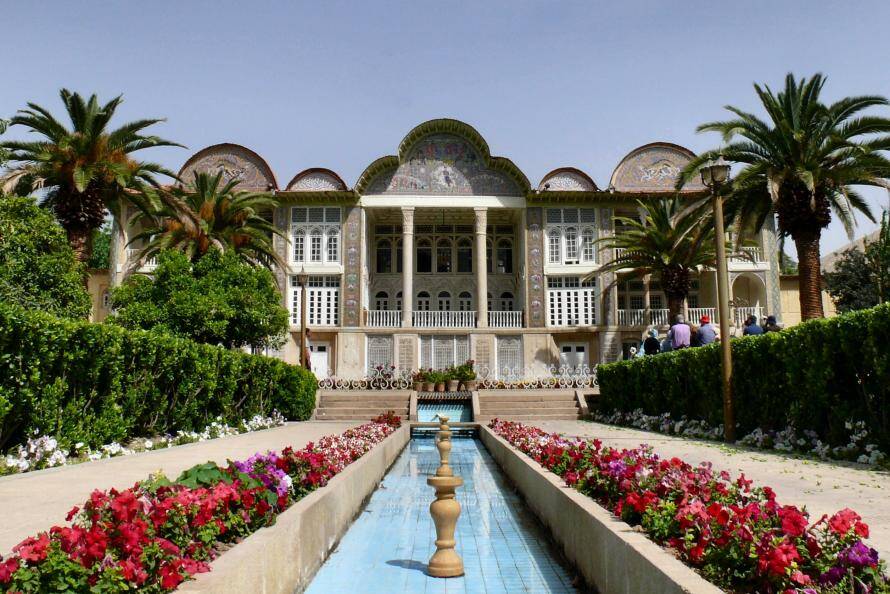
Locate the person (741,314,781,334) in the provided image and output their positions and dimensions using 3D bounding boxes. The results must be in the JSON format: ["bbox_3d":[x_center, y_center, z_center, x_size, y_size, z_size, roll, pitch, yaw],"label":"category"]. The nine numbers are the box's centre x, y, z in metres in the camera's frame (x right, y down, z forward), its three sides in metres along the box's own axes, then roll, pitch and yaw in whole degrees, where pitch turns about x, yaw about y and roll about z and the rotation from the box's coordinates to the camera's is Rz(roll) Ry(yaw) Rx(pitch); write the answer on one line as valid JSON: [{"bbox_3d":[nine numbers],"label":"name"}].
[{"bbox_3d":[8.654,0.715,20.613,0.898,0.383,0.931,1,6,28],"label":"person"}]

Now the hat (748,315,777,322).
[{"bbox_3d":[10.052,0.655,23.639,0.487,0.239,0.719,2,-6,-42],"label":"hat"}]

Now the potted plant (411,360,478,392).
[{"bbox_3d":[-0.031,3.132,28.901,2.376,0.959,2.085,-2,-6,-1],"label":"potted plant"}]
